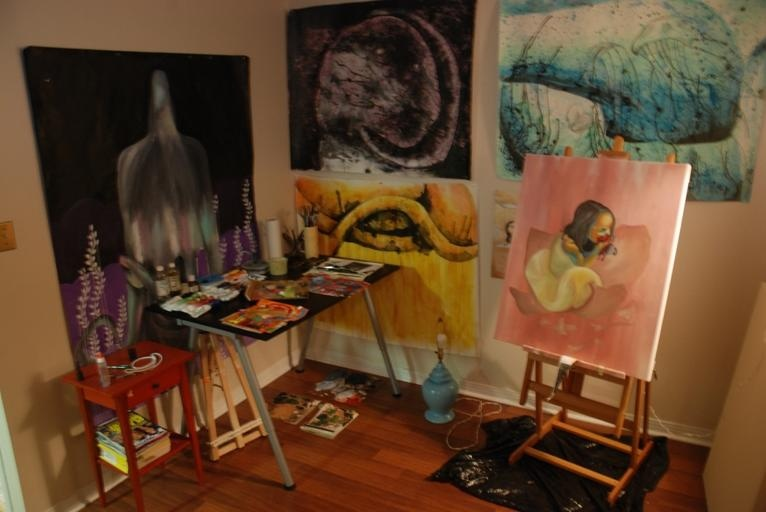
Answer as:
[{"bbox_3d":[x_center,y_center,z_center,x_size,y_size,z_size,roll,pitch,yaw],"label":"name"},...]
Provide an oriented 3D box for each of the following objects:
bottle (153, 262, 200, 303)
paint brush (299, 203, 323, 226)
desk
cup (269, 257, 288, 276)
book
[{"bbox_3d":[-1.303,0.159,3.633,0.173,0.272,0.282,1,10,10],"label":"bottle"},{"bbox_3d":[-0.536,-0.317,4.369,0.103,0.238,0.065,21,38,34],"label":"paint brush"},{"bbox_3d":[-0.595,0.689,3.975,1.080,1.079,1.365,6,16,28],"label":"desk"},{"bbox_3d":[-0.714,0.073,4.022,0.118,0.085,0.117,0,13,0],"label":"cup"},{"bbox_3d":[-1.395,1.043,3.290,0.317,0.104,0.320,15,20,31],"label":"book"}]
